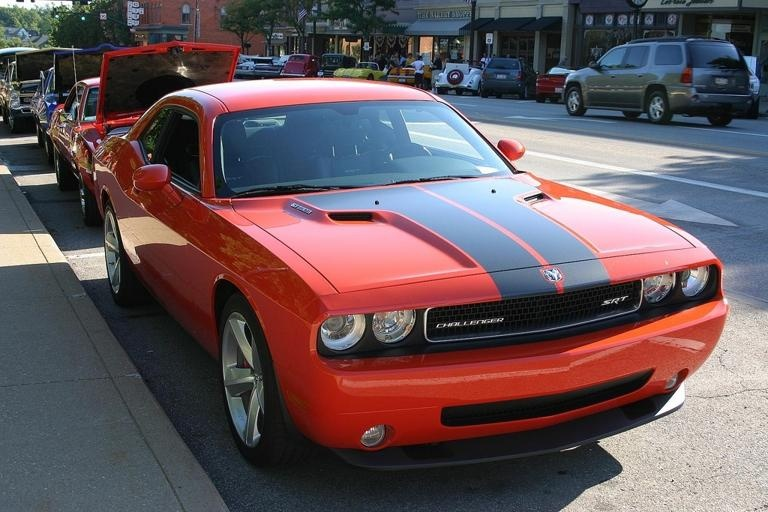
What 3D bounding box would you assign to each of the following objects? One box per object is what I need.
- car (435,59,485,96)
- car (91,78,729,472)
[{"bbox_3d":[5.191,-11.840,38.333,2.333,1.445,3.785,8,23,25],"label":"car"},{"bbox_3d":[-0.621,-0.170,4.292,2.465,1.295,4.461,-8,17,-30],"label":"car"}]
